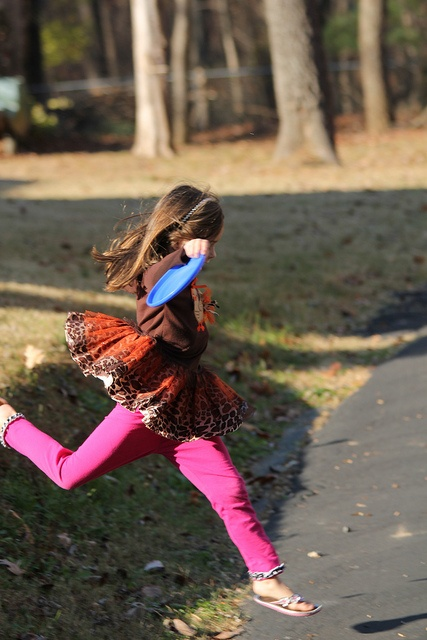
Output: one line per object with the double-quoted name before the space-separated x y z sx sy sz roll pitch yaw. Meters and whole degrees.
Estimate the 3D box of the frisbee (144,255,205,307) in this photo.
"frisbee" -0.169 -0.159 3.108 0.282 0.229 0.183 -3 18 9

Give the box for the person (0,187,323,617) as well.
"person" -0.269 0.375 3.344 1.338 1.916 0.843 -5 19 5
